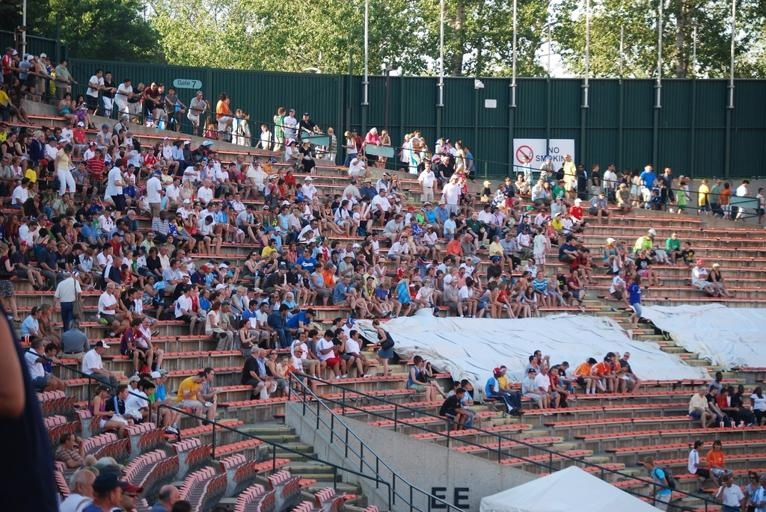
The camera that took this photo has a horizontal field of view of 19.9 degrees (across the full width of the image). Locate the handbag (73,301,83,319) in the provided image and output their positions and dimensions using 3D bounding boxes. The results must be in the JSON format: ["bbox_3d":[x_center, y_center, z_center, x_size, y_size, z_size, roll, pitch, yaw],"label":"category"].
[{"bbox_3d":[-11.353,1.985,81.782,0.266,0.722,0.639,-2,-3,7],"label":"handbag"}]

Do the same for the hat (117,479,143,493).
[{"bbox_3d":[-8.505,7.938,74.480,0.661,0.219,0.419,11,3,-7],"label":"hat"}]

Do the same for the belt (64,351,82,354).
[{"bbox_3d":[-11.392,3.562,80.792,0.571,0.142,0.113,-1,6,-12],"label":"belt"}]

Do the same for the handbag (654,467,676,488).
[{"bbox_3d":[10.706,8.528,83.447,1.181,0.955,0.451,-5,8,-44],"label":"handbag"}]
